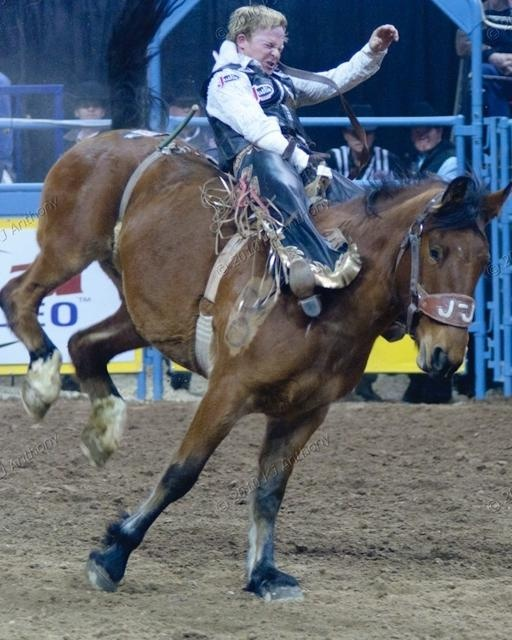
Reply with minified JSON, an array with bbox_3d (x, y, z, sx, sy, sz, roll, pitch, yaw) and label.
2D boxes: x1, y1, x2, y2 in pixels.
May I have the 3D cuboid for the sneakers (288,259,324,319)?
[{"bbox_3d":[0.200,-0.122,4.569,0.137,0.224,0.062,-26,-10,-3],"label":"sneakers"}]

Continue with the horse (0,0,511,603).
[{"bbox_3d":[-0.169,0.147,5.024,2.178,1.929,1.060,8,12,31],"label":"horse"}]
